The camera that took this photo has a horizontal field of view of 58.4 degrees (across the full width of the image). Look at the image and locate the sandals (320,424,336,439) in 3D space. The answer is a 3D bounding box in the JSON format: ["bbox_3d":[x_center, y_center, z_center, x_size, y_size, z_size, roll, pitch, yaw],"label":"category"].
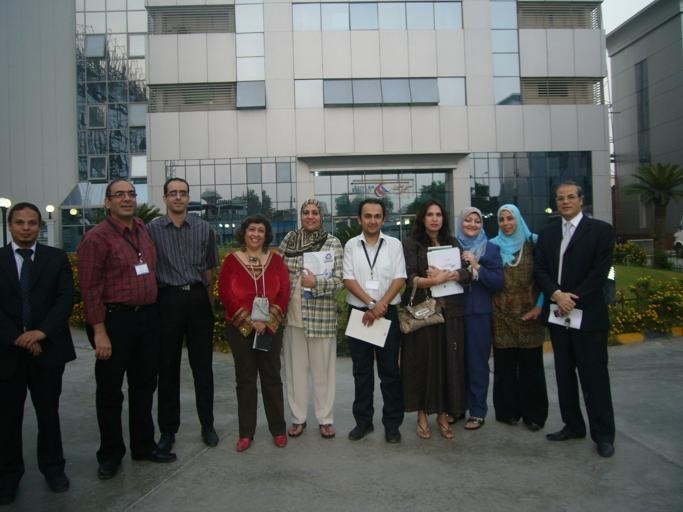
[{"bbox_3d":[-0.194,2.225,7.876,0.206,0.142,0.260,-2,10,-3],"label":"sandals"}]

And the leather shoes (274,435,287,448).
[{"bbox_3d":[-0.762,2.284,7.594,0.164,0.121,0.166,-2,10,-4],"label":"leather shoes"}]

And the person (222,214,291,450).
[{"bbox_3d":[-1.050,0.922,7.705,0.894,2.788,0.894,-3,10,-12],"label":"person"}]

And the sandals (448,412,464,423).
[{"bbox_3d":[1.479,2.148,8.147,0.116,0.102,0.342,-4,-11,21],"label":"sandals"}]

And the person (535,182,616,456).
[{"bbox_3d":[2.876,0.701,7.517,0.734,3.131,1.335,-4,10,-17],"label":"person"}]

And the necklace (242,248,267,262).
[{"bbox_3d":[-1.104,0.004,7.838,0.265,0.188,0.066,2,-1,-7],"label":"necklace"}]

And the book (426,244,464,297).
[{"bbox_3d":[1.282,0.214,7.843,0.555,0.796,0.148,-3,-2,0],"label":"book"}]

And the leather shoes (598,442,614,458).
[{"bbox_3d":[3.031,2.247,7.153,0.192,0.121,0.228,3,11,23],"label":"leather shoes"}]

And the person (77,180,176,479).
[{"bbox_3d":[-2.506,0.793,7.129,0.866,3.252,0.813,-7,11,-31],"label":"person"}]

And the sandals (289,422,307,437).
[{"bbox_3d":[-0.592,2.252,7.945,0.097,0.112,0.256,-2,-7,19],"label":"sandals"}]

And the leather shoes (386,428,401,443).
[{"bbox_3d":[0.627,2.239,7.676,0.199,0.133,0.215,-1,10,3],"label":"leather shoes"}]

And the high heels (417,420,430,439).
[{"bbox_3d":[1.011,2.212,7.822,0.162,0.113,0.448,-1,-4,0],"label":"high heels"}]

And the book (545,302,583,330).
[{"bbox_3d":[2.705,0.743,7.549,0.017,0.224,0.305,-13,22,-36],"label":"book"}]

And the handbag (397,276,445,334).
[{"bbox_3d":[0.973,0.621,7.887,0.523,0.708,0.197,-16,-28,6],"label":"handbag"}]

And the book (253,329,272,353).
[{"bbox_3d":[-0.976,1.069,7.615,0.237,0.301,0.154,-2,10,-6],"label":"book"}]

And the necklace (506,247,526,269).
[{"bbox_3d":[2.274,0.049,8.174,0.064,0.271,0.155,35,-21,-4],"label":"necklace"}]

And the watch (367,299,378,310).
[{"bbox_3d":[0.368,0.617,7.790,0.075,0.109,0.116,33,58,22],"label":"watch"}]
